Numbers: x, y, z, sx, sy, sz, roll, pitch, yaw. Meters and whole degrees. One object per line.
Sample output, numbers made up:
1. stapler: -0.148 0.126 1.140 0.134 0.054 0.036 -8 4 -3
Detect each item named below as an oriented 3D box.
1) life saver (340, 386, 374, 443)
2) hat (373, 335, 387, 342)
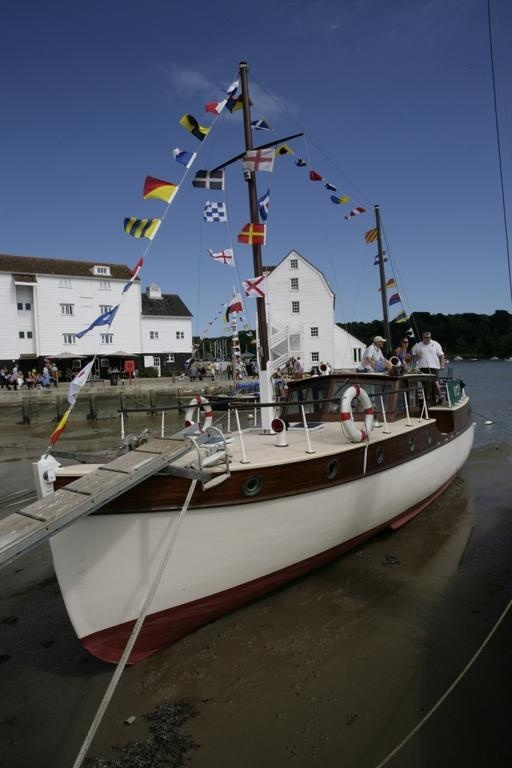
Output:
1. life saver: 1.050 0.320 5.703 0.159 0.644 0.603 -12 -22 42
2. hat: 2.225 -0.809 9.005 0.129 0.084 0.167 -8 -1 -36
